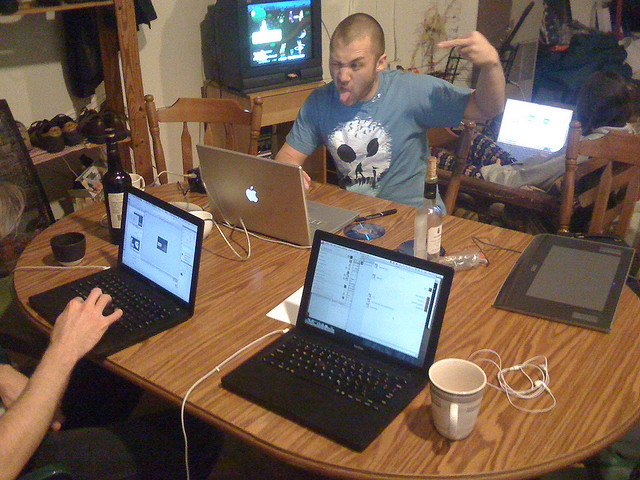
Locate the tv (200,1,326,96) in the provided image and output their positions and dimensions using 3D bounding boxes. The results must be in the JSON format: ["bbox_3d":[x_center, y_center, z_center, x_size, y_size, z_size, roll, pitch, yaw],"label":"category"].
[{"bbox_3d":[-0.383,-1.558,4.497,0.944,0.863,0.964,-17,26,-38],"label":"tv"}]

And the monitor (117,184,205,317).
[{"bbox_3d":[-0.555,0.029,1.728,0.501,0.327,0.144,22,37,39],"label":"monitor"}]

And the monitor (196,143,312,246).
[{"bbox_3d":[-0.260,-0.169,1.987,0.494,0.354,0.049,14,33,29],"label":"monitor"}]

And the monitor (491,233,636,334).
[{"bbox_3d":[0.833,0.123,1.745,0.349,0.101,0.506,14,31,30],"label":"monitor"}]

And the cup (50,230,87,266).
[{"bbox_3d":[-0.930,0.031,1.957,0.129,0.097,0.133,1,22,-1],"label":"cup"}]

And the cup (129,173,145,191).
[{"bbox_3d":[-0.783,-0.256,2.239,0.090,0.067,0.093,2,14,0],"label":"cup"}]

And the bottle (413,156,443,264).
[{"bbox_3d":[0.369,-0.083,1.713,0.122,0.372,0.110,0,22,-4],"label":"bottle"}]

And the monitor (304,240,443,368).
[{"bbox_3d":[0.141,0.177,1.456,0.373,0.257,0.124,12,32,26],"label":"monitor"}]

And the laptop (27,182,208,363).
[{"bbox_3d":[-0.650,0.081,1.635,0.577,0.314,0.517,10,29,23],"label":"laptop"}]

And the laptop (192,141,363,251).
[{"bbox_3d":[-0.161,-0.218,2.097,0.634,0.383,0.469,19,32,28],"label":"laptop"}]
